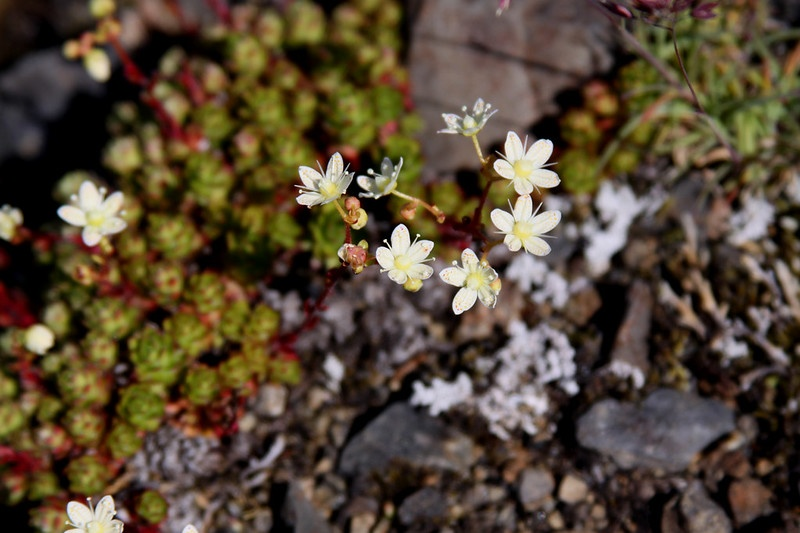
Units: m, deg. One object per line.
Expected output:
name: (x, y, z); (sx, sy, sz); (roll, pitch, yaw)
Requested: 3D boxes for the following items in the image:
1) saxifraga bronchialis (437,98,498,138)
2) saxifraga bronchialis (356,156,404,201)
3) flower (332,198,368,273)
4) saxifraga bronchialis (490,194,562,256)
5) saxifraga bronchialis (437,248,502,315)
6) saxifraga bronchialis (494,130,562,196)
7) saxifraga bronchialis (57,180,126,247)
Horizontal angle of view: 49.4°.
saxifraga bronchialis: (0.358, -0.718, 4.401); (0.208, 0.222, 0.123); (13, 86, 20)
saxifraga bronchialis: (-0.078, -0.429, 4.448); (0.262, 0.261, 0.145); (-22, 101, -28)
flower: (-0.276, -0.161, 4.579); (0.199, 0.428, 0.144); (3, 48, 1)
saxifraga bronchialis: (0.646, -0.182, 4.489); (0.303, 0.136, 0.346); (-13, 84, 3)
saxifraga bronchialis: (0.345, 0.089, 4.315); (0.243, 0.194, 0.282); (-33, 69, -17)
saxifraga bronchialis: (0.649, -0.493, 4.373); (0.318, 0.223, 0.291); (33, 67, 14)
saxifraga bronchialis: (-1.608, -0.269, 4.572); (0.356, 0.140, 0.385); (-5, 66, 5)
